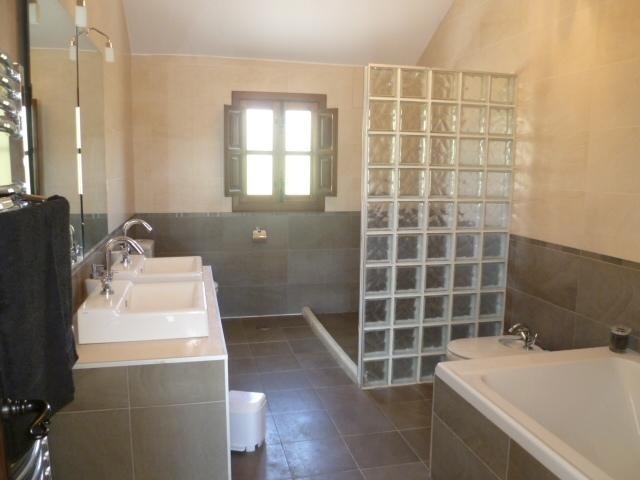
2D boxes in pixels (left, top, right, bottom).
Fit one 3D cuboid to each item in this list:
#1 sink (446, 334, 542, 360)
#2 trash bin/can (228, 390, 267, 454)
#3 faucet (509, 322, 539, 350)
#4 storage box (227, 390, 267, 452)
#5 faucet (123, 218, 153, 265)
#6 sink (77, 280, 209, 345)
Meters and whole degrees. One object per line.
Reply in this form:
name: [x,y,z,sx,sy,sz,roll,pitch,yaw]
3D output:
sink: [1.047,0.671,3.104,0.333,0.107,0.242,-1,-1,-16]
trash bin/can: [-0.406,1.085,3.024,0.286,0.256,0.291,-1,7,-8]
faucet: [1.332,0.594,3.235,0.165,0.184,0.438,5,13,24]
storage box: [-0.447,1.060,2.983,0.287,0.252,0.290,0,3,-16]
faucet: [-1.349,0.018,3.662,0.179,0.320,0.329,-1,14,-15]
sink: [-0.863,0.367,2.433,0.377,0.120,0.403,-3,13,-15]
